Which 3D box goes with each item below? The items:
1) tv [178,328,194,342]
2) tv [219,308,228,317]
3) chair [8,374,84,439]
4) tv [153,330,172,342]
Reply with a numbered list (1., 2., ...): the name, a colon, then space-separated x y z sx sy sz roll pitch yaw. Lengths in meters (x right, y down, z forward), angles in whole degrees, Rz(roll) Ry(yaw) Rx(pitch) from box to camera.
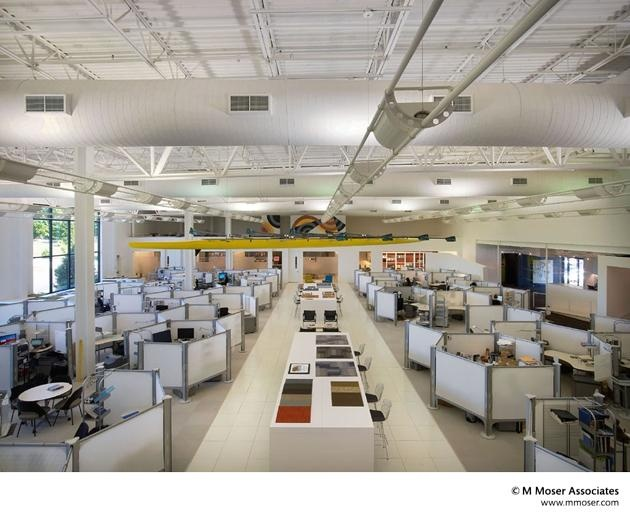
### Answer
1. tv: -3.230 1.997 11.534 0.362 0.233 0.087 -1 -6 1
2. tv: -2.827 1.760 14.189 0.330 0.152 0.460 0 -5 -12
3. chair: -5.295 2.918 8.961 1.074 0.503 1.048 -1 1 -37
4. tv: -3.746 2.001 11.298 0.254 0.289 0.466 -5 -5 29
